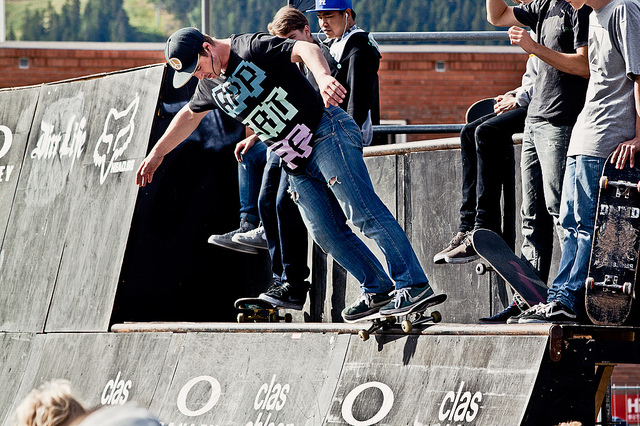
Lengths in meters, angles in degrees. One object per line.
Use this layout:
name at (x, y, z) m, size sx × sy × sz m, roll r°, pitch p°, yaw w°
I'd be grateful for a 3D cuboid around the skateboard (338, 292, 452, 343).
skateboard at (0.698, 1.068, 14.879) m, size 0.924 × 0.242 × 0.481 m, roll -10°, pitch 6°, yaw 29°

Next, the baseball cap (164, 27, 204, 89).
baseball cap at (-1.256, -1.441, 14.900) m, size 0.332 × 0.540 × 0.274 m, roll 4°, pitch -21°, yaw 44°

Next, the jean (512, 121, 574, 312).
jean at (2.149, -0.007, 15.286) m, size 0.551 × 1.885 × 0.447 m, roll 11°, pitch 15°, yaw 39°

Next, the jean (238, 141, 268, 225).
jean at (-0.736, -0.302, 16.630) m, size 0.352 × 0.849 × 0.298 m, roll 5°, pitch 5°, yaw 44°

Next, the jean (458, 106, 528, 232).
jean at (1.609, -0.415, 15.600) m, size 0.498 × 1.313 × 0.635 m, roll 6°, pitch 3°, yaw 27°

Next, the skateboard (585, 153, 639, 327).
skateboard at (2.660, 0.331, 14.575) m, size 0.402 × 1.727 × 0.251 m, roll 4°, pitch -3°, yaw 7°
